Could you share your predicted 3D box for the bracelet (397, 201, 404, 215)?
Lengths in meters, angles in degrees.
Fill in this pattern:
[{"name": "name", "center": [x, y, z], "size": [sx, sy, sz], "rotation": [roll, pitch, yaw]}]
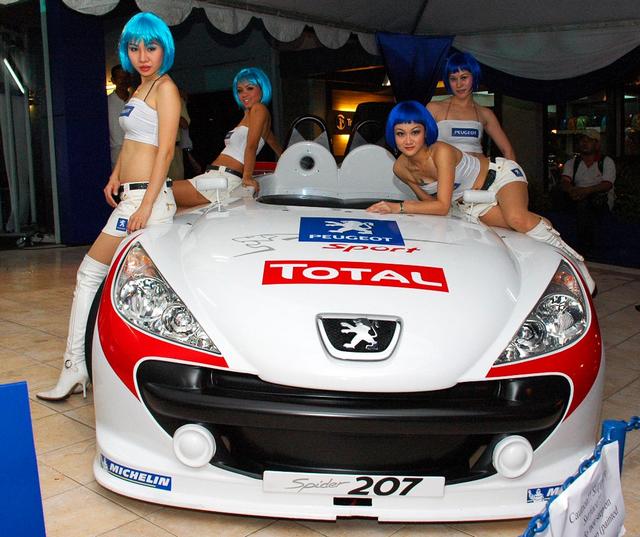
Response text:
[{"name": "bracelet", "center": [0.359, -0.272, 2.255], "size": [0.010, 0.043, 0.042], "rotation": [-2, 0, -4]}]
